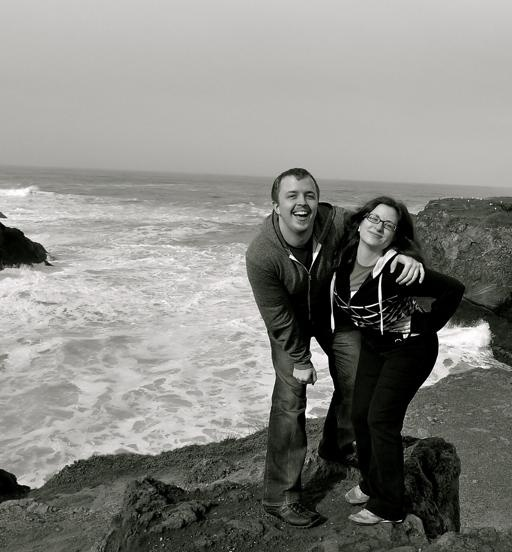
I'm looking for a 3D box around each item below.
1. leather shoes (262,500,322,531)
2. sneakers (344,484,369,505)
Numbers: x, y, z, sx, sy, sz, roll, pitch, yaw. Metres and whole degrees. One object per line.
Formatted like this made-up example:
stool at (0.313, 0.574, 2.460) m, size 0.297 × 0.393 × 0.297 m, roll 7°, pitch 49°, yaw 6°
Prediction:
leather shoes at (0.254, 1.594, 3.251) m, size 0.311 × 0.124 × 0.143 m, roll 0°, pitch -2°, yaw 30°
sneakers at (0.724, 1.527, 3.352) m, size 0.192 × 0.070 × 0.098 m, roll 0°, pitch 21°, yaw -29°
